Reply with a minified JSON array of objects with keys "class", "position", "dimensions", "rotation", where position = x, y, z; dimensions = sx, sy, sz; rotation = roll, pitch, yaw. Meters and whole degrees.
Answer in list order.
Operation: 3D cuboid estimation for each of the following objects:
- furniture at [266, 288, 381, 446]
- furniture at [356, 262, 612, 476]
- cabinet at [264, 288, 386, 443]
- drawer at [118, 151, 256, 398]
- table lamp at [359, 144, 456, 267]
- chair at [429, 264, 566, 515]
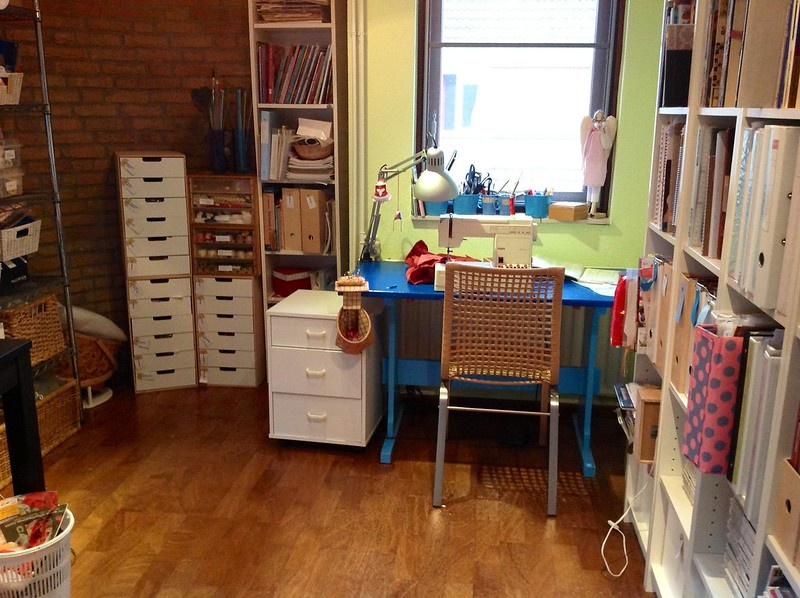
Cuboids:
[{"class":"furniture","position":[-0.398,0.384,3.814],"dimensions":[0.670,0.957,0.740],"rotation":[0,6,8]},{"class":"furniture","position":[0.497,0.370,3.703],"dimensions":[1.423,1.005,0.761],"rotation":[1,17,10]},{"class":"cabinet","position":[-0.385,0.373,3.802],"dimensions":[0.703,0.954,0.726],"rotation":[0,5,7]},{"class":"drawer","position":[-1.335,-0.147,4.160],"dimensions":[0.767,1.503,0.163],"rotation":[-1,15,-6]},{"class":"table lamp","position":[0.025,-0.509,3.666],"dimensions":[0.463,0.691,0.690],"rotation":[-2,15,-9]},{"class":"chair","position":[0.473,0.407,3.045],"dimensions":[0.573,1.163,0.338],"rotation":[4,15,13]}]
